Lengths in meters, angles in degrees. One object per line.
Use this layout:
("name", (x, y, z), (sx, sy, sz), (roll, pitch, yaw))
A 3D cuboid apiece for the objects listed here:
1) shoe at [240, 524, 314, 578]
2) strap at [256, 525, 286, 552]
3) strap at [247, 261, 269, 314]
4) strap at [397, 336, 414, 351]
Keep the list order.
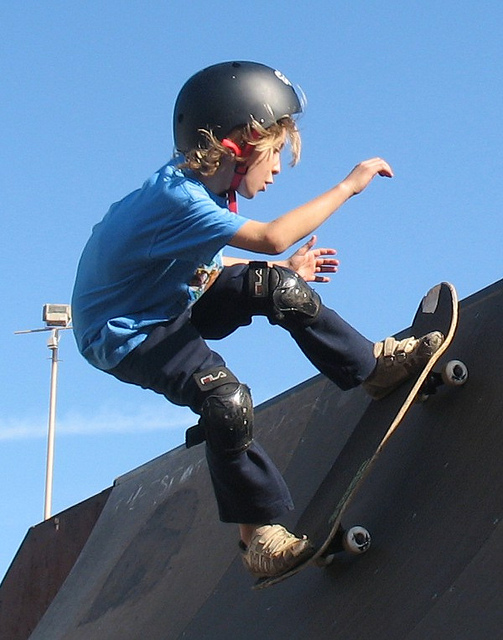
("shoe", (0.084, 0.716, 3.282), (0.129, 0.169, 0.321), (-17, 2, -23))
("strap", (0.050, 0.668, 3.329), (0.066, 0.085, 0.079), (36, 9, 24))
("strap", (0.026, -0.160, 3.650), (0.076, 0.129, 0.076), (-2, -1, 7))
("strap", (0.556, 0.058, 3.591), (0.017, 0.055, 0.036), (27, 8, -43))
